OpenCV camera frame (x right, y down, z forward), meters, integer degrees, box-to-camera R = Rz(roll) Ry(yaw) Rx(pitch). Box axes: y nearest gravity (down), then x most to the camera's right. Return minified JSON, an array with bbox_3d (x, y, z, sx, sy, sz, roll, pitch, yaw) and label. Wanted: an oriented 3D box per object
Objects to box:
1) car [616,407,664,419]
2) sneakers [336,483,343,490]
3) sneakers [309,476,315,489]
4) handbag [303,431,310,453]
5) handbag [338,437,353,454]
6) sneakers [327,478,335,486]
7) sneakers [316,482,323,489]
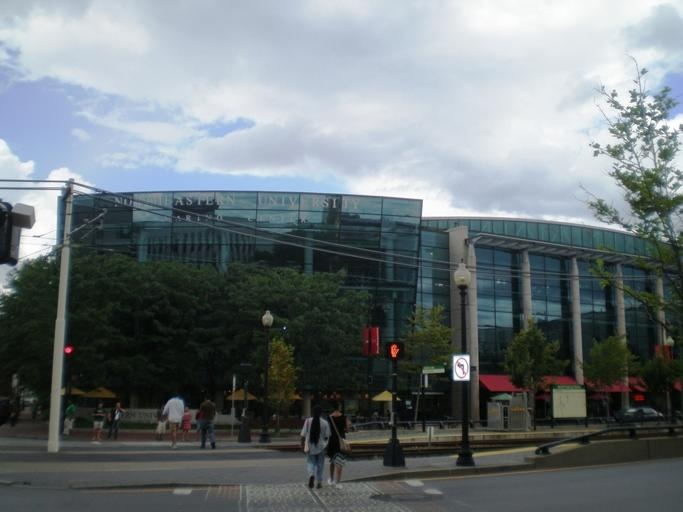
[{"bbox_3d":[21.976,11.758,51.676,2.840,0.933,4.410,-4,-12,21],"label":"car"},{"bbox_3d":[-0.077,6.663,20.097,0.228,0.214,0.138,1,-3,-8],"label":"sneakers"},{"bbox_3d":[-0.881,6.561,20.162,0.158,0.390,0.151,0,3,-2],"label":"sneakers"},{"bbox_3d":[-1.023,5.410,20.050,0.153,0.499,0.421,2,-11,-4],"label":"handbag"},{"bbox_3d":[0.123,5.625,20.629,0.293,0.516,0.811,-1,-11,10],"label":"handbag"},{"bbox_3d":[-0.301,6.648,20.376,0.161,0.178,0.428,2,-4,-2],"label":"sneakers"},{"bbox_3d":[-0.642,6.636,20.075,0.142,0.116,0.143,2,-12,-17],"label":"sneakers"}]
